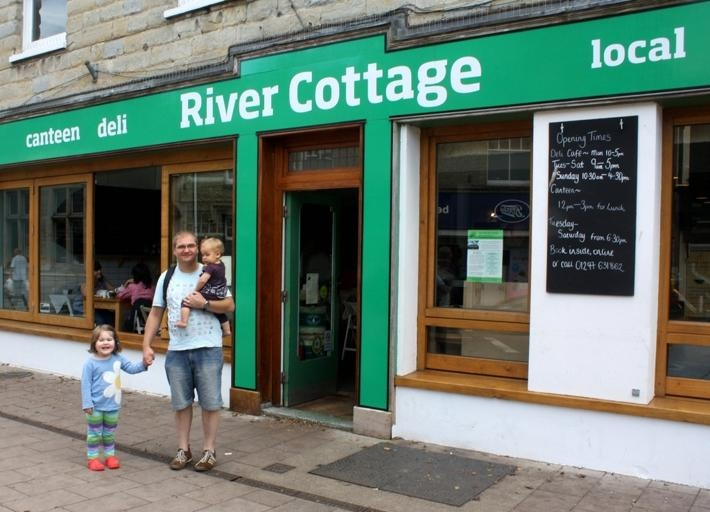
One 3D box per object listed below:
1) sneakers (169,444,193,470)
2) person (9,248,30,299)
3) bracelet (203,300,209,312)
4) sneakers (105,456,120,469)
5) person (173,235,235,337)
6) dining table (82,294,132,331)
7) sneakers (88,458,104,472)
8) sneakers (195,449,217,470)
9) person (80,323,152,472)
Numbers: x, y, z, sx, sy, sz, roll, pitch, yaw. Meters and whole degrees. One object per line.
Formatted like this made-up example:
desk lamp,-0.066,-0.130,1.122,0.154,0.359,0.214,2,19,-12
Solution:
sneakers,-1.751,2.028,6.546,0.114,0.136,0.302,0,-5,11
person,-6.103,0.320,11.846,0.173,0.900,0.758,-4,5,-40
bracelet,-1.467,0.496,6.427,0.066,0.101,0.092,-1,22,-14
sneakers,-2.412,2.048,6.481,0.081,0.071,0.176,-1,-5,-23
person,-1.524,0.334,6.536,0.484,1.013,0.402,-1,4,-11
dining table,-3.873,0.858,10.343,0.723,0.671,0.529,-1,-2,30
sneakers,-2.557,2.067,6.450,0.089,0.073,0.182,2,-3,-35
sneakers,-1.486,2.027,6.499,0.111,0.110,0.280,-1,-5,4
person,-2.430,1.405,6.457,0.492,1.401,0.211,-2,4,-22
